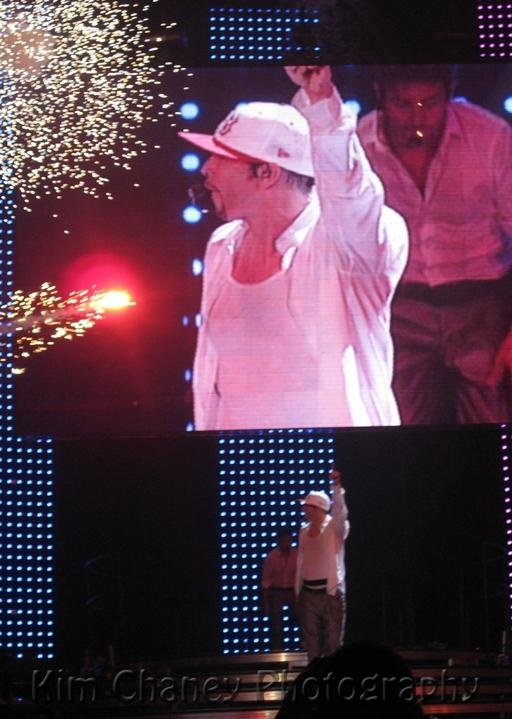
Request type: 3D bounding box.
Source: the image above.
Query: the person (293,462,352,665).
[{"bbox_3d":[0.399,1.210,7.542,0.304,1.074,0.285,-1,-1,11],"label":"person"}]

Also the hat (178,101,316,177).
[{"bbox_3d":[-0.036,-1.429,8.308,0.813,0.253,0.482,10,18,-9],"label":"hat"}]

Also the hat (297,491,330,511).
[{"bbox_3d":[0.364,0.850,7.691,0.164,0.068,0.106,9,-9,8],"label":"hat"}]
